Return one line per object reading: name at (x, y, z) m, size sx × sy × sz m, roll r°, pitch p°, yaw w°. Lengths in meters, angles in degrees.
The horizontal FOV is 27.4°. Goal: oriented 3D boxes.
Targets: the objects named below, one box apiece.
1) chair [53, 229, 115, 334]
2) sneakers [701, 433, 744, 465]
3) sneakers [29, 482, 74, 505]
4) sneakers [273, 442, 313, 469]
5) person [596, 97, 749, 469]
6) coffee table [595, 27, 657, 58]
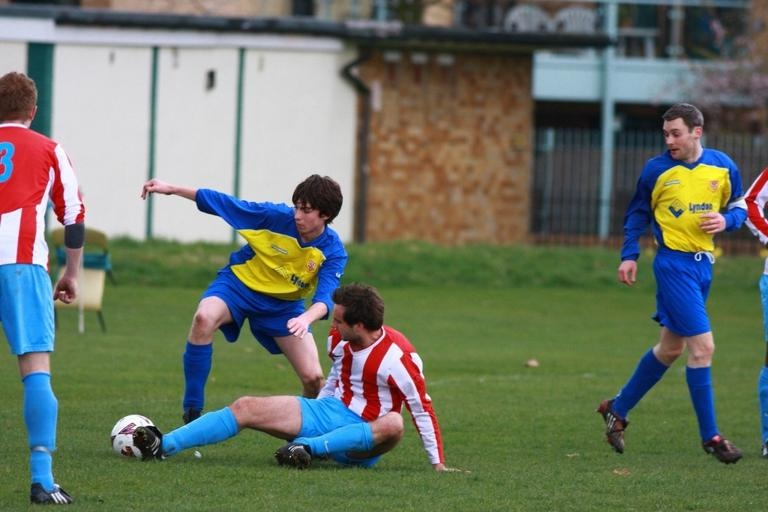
chair at (-4.118, 0.236, 21.364) m, size 0.796 × 1.181 × 0.901 m, roll 7°, pitch 4°, yaw -29°
sneakers at (3.737, 2.133, 17.550) m, size 0.218 × 0.218 × 0.422 m, roll -38°, pitch 31°, yaw -17°
sneakers at (-3.466, 2.501, 16.505) m, size 0.503 × 0.206 × 0.182 m, roll 2°, pitch -2°, yaw -10°
sneakers at (-0.978, 2.172, 17.120) m, size 0.510 × 0.246 × 0.187 m, roll 5°, pitch 2°, yaw 35°
person at (3.325, 0.256, 17.836) m, size 1.448 × 4.006 × 0.810 m, roll 2°, pitch 3°, yaw 11°
coffee table at (5.489, -4.703, 34.249) m, size 0.892 × 0.734 × 0.548 m, roll 2°, pitch 3°, yaw 7°
